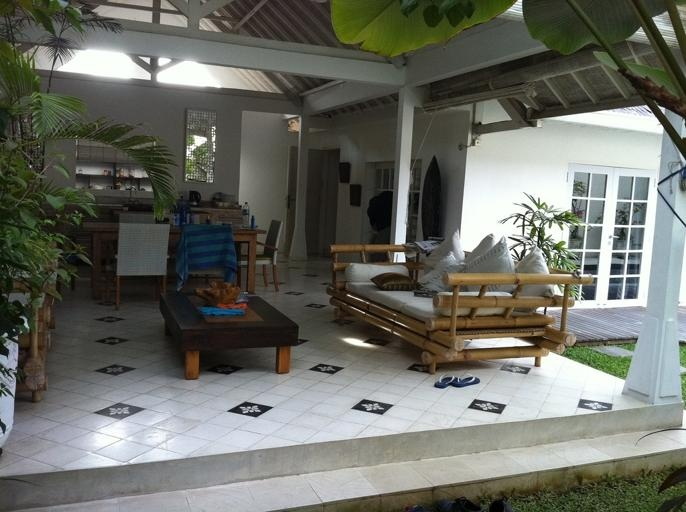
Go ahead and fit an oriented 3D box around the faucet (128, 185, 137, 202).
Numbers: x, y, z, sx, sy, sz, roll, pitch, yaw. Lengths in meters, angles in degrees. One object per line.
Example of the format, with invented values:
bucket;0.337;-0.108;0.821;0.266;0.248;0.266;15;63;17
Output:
faucet;-4.297;-1.285;9.911;0.138;0.334;0.306;-2;5;-20

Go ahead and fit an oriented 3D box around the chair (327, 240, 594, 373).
chair;1.053;0.489;5.212;1.556;0.692;2.423;-4;9;-26

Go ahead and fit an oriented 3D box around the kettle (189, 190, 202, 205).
kettle;-3.109;-1.208;10.210;0.231;0.305;0.200;-2;5;-29

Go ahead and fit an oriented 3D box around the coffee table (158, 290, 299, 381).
coffee table;-1.106;0.625;4.503;0.951;0.242;1.290;-4;11;-21
